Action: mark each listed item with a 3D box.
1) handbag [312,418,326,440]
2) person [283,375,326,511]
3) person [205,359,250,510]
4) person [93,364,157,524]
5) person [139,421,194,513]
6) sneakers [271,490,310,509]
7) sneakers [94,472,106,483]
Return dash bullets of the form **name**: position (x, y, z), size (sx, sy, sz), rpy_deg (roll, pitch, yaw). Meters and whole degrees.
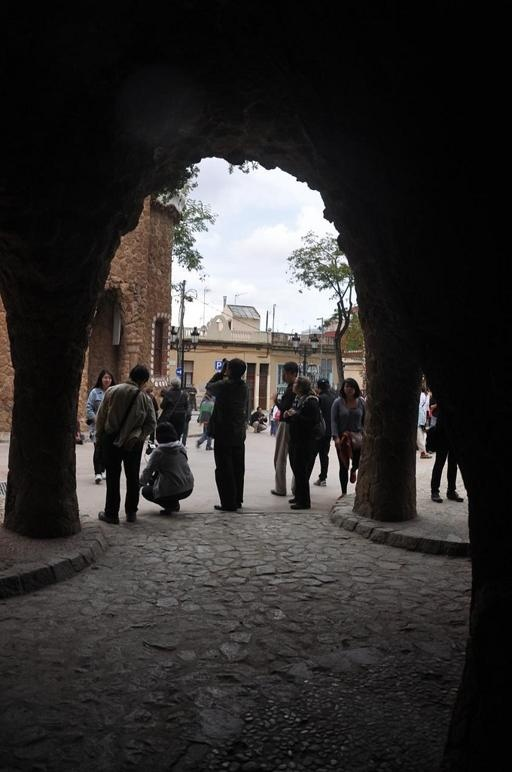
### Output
- **handbag**: position (0.896, 0.607, 7.482), size (0.187, 0.309, 0.399), rpy_deg (-6, 9, 5)
- **person**: position (0.665, 0.812, 7.429), size (0.527, 1.852, 0.578), rpy_deg (1, -2, 6)
- **person**: position (-0.402, 0.658, 7.119), size (0.533, 2.054, 0.584), rpy_deg (1, -2, 1)
- **person**: position (-1.518, 0.666, 6.056), size (0.663, 1.874, 0.574), rpy_deg (2, -3, -23)
- **person**: position (-1.184, 1.038, 6.799), size (0.683, 1.265, 0.618), rpy_deg (1, 6, 25)
- **sneakers**: position (0.522, 1.624, 7.476), size (0.561, 0.298, 0.208), rpy_deg (8, -6, -11)
- **sneakers**: position (-2.693, 1.579, 8.930), size (0.148, 0.234, 0.483), rpy_deg (1, -11, -10)
